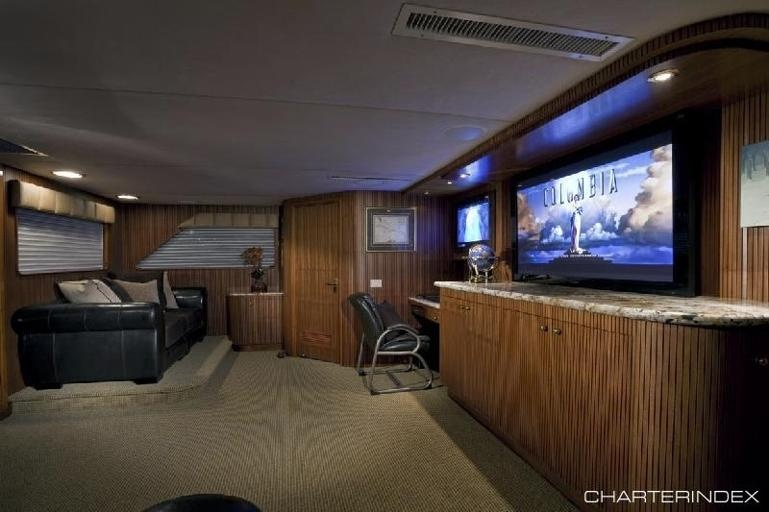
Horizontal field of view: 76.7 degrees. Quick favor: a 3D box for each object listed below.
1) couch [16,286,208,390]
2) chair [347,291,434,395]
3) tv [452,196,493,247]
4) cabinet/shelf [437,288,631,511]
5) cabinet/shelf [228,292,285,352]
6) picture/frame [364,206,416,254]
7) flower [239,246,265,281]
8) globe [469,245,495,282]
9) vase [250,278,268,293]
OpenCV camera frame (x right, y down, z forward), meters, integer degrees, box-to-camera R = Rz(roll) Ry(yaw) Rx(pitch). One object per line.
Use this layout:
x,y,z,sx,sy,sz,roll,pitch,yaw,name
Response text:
-3.270,0.914,6.030,1.470,1.041,1.712,-1,10,-3,couch
0.061,1.021,5.932,0.965,1.079,1.151,2,-3,-5,chair
1.154,-0.411,6.248,0.100,0.713,0.987,0,-1,-17,tv
1.214,1.158,3.837,0.484,0.924,1.547,3,-2,-10,cabinet/shelf
-2.013,1.036,7.732,1.094,0.781,0.630,4,-11,-35,cabinet/shelf
0.032,-0.359,6.669,0.621,0.563,0.070,0,-3,-9,picture/frame
-2.177,0.107,8.036,0.377,0.486,0.580,-3,10,-17,flower
1.107,0.083,5.355,0.291,0.362,0.329,4,10,28,globe
-2.029,0.457,7.840,0.241,0.240,0.246,0,-2,-10,vase
